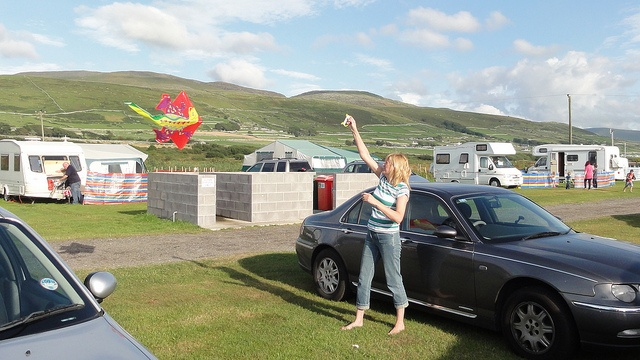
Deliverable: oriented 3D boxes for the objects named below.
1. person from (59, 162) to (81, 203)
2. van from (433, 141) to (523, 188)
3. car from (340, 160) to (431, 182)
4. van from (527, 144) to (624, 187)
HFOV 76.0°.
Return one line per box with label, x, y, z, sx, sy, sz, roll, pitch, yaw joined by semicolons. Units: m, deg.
person;-13.916;0.202;22.815;0.869;2.321;1.309;-3;8;-40
van;12.577;-1.145;35.673;8.758;4.162;4.551;1;3;42
car;3.567;-0.636;24.522;4.508;1.318;1.848;1;3;14
van;23.868;-1.517;38.637;6.741;2.877;5.113;3;3;36
